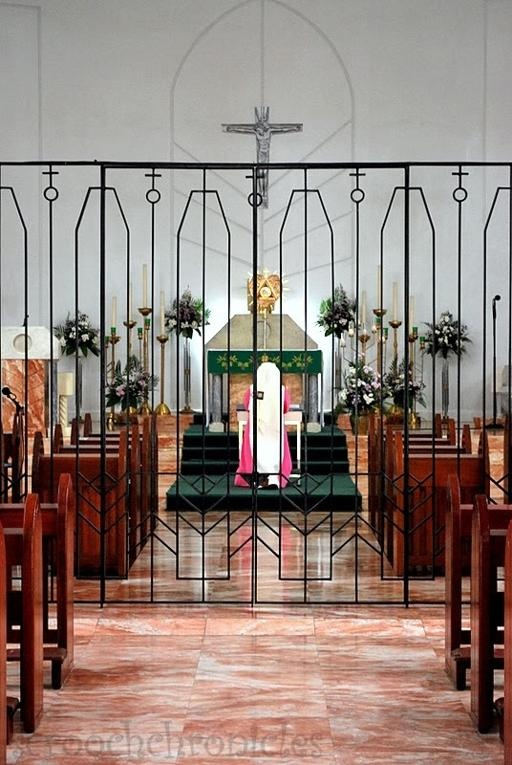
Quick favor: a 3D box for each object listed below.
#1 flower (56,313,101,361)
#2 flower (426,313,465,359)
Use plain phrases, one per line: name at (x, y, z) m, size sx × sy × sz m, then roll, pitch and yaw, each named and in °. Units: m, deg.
flower at (-2.056, -0.521, 11.495) m, size 0.483 × 0.526 × 0.554 m, roll 0°, pitch 26°, yaw -16°
flower at (2.322, -0.548, 12.277) m, size 0.347 × 0.499 × 0.469 m, roll -3°, pitch 5°, yaw 8°
